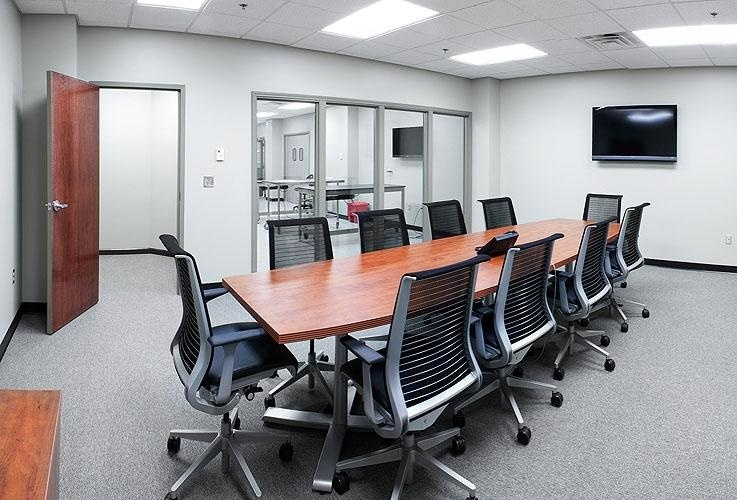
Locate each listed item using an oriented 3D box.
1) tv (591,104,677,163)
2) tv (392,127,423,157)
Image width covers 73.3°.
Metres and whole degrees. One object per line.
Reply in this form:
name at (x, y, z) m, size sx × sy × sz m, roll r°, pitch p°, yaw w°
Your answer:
tv at (4.106, -1.794, 7.509) m, size 0.908 × 0.688 × 0.097 m, roll 4°, pitch 5°, yaw 33°
tv at (0.622, -1.705, 7.726) m, size 0.631 × 0.446 × 0.047 m, roll 10°, pitch 16°, yaw 43°
